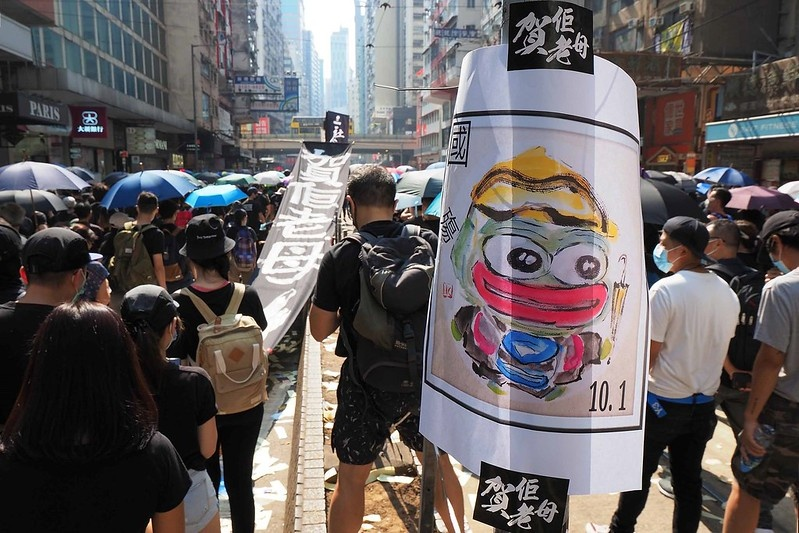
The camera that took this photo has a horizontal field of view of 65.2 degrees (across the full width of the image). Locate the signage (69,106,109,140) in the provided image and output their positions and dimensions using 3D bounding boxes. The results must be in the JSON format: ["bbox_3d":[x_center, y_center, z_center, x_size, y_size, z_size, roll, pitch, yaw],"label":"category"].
[{"bbox_3d":[-11.454,-5.332,22.955,1.661,1.576,0.175,-3,-16,-36],"label":"signage"}]

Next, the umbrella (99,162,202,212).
[{"bbox_3d":[-3.659,-0.968,8.939,0.899,0.342,0.950,1,27,19],"label":"umbrella"}]

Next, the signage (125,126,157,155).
[{"bbox_3d":[-12.790,-6.348,31.275,1.380,1.343,1.401,0,3,-10],"label":"signage"}]

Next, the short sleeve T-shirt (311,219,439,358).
[{"bbox_3d":[-0.259,0.259,4.628,0.709,1.061,1.017,3,-25,-12],"label":"short sleeve T-shirt"}]

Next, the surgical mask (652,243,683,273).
[{"bbox_3d":[2.289,-0.059,5.427,0.276,0.177,0.246,15,14,10],"label":"surgical mask"}]

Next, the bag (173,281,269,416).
[{"bbox_3d":[-1.364,0.606,5.033,0.585,0.977,0.947,-11,21,-38],"label":"bag"}]
